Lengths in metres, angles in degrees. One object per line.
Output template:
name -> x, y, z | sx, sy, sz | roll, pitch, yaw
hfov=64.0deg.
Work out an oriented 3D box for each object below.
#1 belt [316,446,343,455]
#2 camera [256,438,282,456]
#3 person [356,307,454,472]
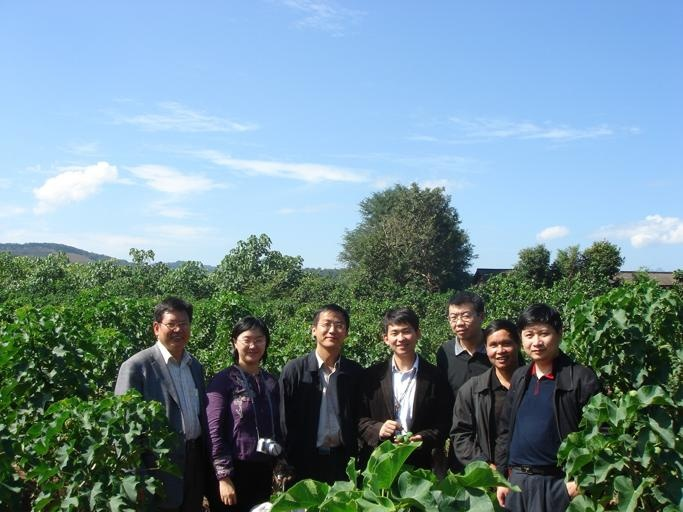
belt -> -0.107, 1.778, 4.993 | 0.118, 0.037, 0.122 | 0, -5, 10
camera -> -0.622, 1.651, 4.684 | 0.223, 0.186, 0.180 | 3, -6, -30
person -> 0.582, 1.244, 5.042 | 0.858, 1.552, 0.628 | 0, -5, 1
